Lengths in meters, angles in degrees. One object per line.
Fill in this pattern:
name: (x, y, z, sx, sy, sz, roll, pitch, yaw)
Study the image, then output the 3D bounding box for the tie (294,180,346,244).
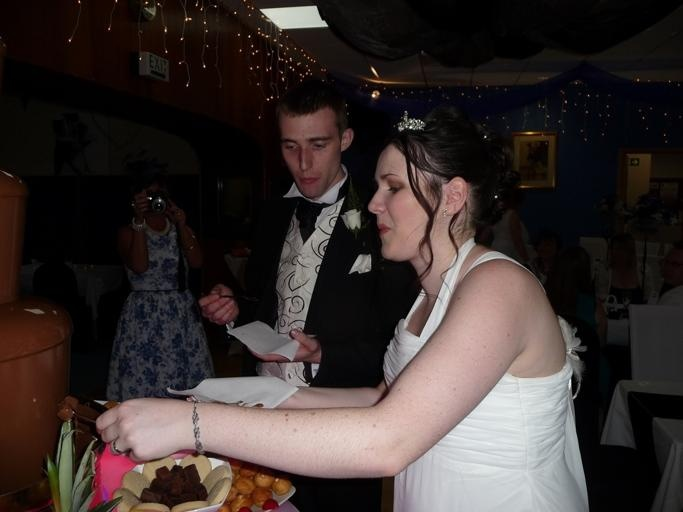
tie: (-0.142, -0.189, 2.279, 0.141, 0.198, 0.114, 0, -23, 0)

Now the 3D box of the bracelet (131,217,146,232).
bracelet: (-1.311, -0.198, 3.253, 0.064, 0.041, 0.083, 1, 10, -4)

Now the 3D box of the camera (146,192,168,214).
camera: (-1.208, -0.343, 3.305, 0.145, 0.147, 0.109, 3, -14, -23)
